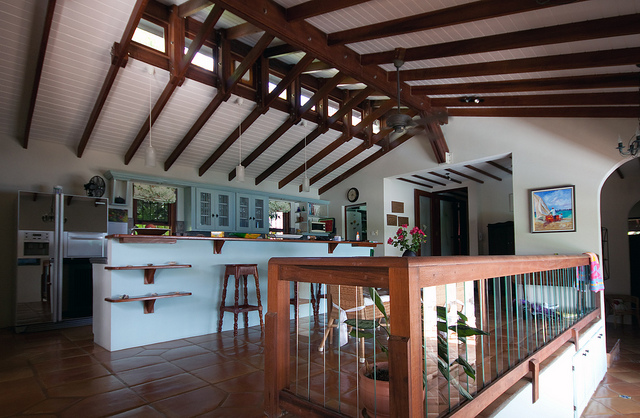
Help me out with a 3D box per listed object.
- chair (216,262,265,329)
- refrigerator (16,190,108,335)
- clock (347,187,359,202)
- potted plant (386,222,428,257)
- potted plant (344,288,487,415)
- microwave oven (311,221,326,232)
[{"bbox_3d":[-1.319,1.435,6.874,0.654,0.990,0.680,-8,-11,37],"label":"chair"},{"bbox_3d":[-4.573,0.864,7.613,1.459,2.404,0.868,1,2,2],"label":"refrigerator"},{"bbox_3d":[0.907,-0.387,11.399,0.370,0.360,0.093,3,7,34],"label":"clock"},{"bbox_3d":[1.466,0.601,7.086,0.585,0.579,0.477,-8,10,42],"label":"potted plant"},{"bbox_3d":[0.747,1.419,4.234,1.353,0.932,1.227,3,-1,-29],"label":"potted plant"},{"bbox_3d":[-0.066,0.489,10.966,0.371,0.176,0.233,4,-7,-45],"label":"microwave oven"}]
